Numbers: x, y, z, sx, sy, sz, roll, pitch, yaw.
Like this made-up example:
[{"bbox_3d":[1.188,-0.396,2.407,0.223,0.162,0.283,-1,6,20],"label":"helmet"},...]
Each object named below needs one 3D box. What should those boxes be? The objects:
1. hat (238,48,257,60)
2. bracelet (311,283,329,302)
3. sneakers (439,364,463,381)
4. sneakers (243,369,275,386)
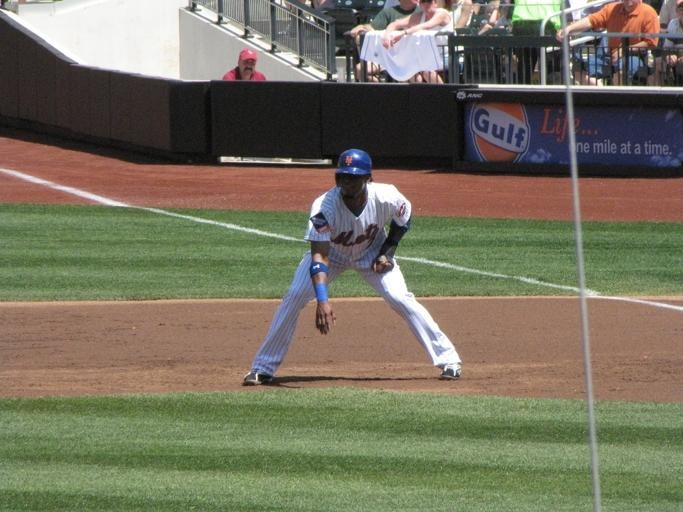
[{"bbox_3d":[-1.521,-3.193,28.731,0.272,0.194,0.384,5,0,-14],"label":"hat"},{"bbox_3d":[-0.215,0.396,19.208,0.205,0.260,0.166,-5,-11,13],"label":"bracelet"},{"bbox_3d":[1.184,1.255,19.566,0.152,0.182,0.203,0,0,-20],"label":"sneakers"},{"bbox_3d":[-0.920,1.319,19.584,0.322,0.154,0.146,7,8,-21],"label":"sneakers"}]
